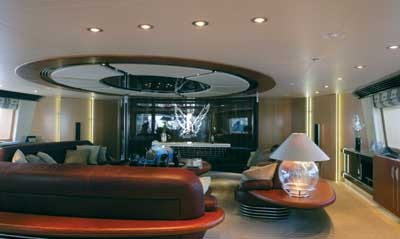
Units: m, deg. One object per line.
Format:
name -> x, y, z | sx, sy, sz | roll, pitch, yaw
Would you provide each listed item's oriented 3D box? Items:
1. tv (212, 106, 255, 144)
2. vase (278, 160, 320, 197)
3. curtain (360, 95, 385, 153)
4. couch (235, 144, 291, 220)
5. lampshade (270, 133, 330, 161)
tv -> 1.184, 0.237, 10.230 | 2.259, 1.733, 0.204 | -2, -6, 42
vase -> 1.884, 1.175, 5.600 | 0.891, 0.881, 0.841 | -4, -9, 35
curtain -> 5.121, 0.174, 8.086 | 0.315, 1.319, 1.027 | 1, 3, 8
couch -> 1.940, 1.650, 7.559 | 1.196, 1.279, 3.680 | -9, -9, 22
lampshade -> 1.951, 0.571, 5.446 | 1.171, 0.541, 1.130 | 2, 5, 37
